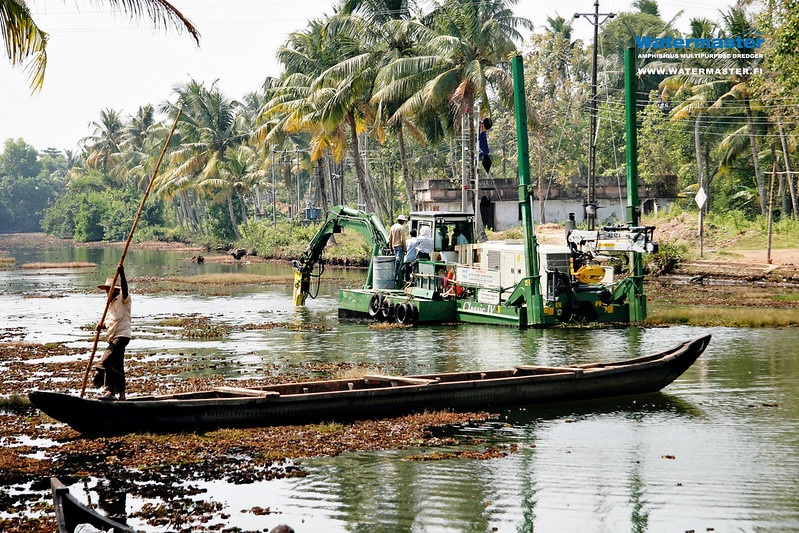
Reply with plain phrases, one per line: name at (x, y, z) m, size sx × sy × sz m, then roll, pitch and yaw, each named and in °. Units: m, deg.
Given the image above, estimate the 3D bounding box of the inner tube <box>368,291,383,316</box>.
inner tube at (-1.173, 1.849, 68.352) m, size 0.517 × 1.290 × 1.187 m, roll 3°, pitch 0°, yaw -16°

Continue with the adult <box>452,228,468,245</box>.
adult at (2.855, -1.337, 68.212) m, size 0.633 × 1.096 × 1.157 m, roll -6°, pitch 5°, yaw -17°

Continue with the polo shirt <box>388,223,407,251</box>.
polo shirt at (-0.130, -1.334, 68.709) m, size 1.151 × 1.549 × 0.774 m, roll 8°, pitch 14°, yaw 37°

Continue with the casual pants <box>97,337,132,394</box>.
casual pants at (-11.173, 3.978, 55.849) m, size 1.088 × 2.294 × 0.617 m, roll -1°, pitch -2°, yaw -14°
